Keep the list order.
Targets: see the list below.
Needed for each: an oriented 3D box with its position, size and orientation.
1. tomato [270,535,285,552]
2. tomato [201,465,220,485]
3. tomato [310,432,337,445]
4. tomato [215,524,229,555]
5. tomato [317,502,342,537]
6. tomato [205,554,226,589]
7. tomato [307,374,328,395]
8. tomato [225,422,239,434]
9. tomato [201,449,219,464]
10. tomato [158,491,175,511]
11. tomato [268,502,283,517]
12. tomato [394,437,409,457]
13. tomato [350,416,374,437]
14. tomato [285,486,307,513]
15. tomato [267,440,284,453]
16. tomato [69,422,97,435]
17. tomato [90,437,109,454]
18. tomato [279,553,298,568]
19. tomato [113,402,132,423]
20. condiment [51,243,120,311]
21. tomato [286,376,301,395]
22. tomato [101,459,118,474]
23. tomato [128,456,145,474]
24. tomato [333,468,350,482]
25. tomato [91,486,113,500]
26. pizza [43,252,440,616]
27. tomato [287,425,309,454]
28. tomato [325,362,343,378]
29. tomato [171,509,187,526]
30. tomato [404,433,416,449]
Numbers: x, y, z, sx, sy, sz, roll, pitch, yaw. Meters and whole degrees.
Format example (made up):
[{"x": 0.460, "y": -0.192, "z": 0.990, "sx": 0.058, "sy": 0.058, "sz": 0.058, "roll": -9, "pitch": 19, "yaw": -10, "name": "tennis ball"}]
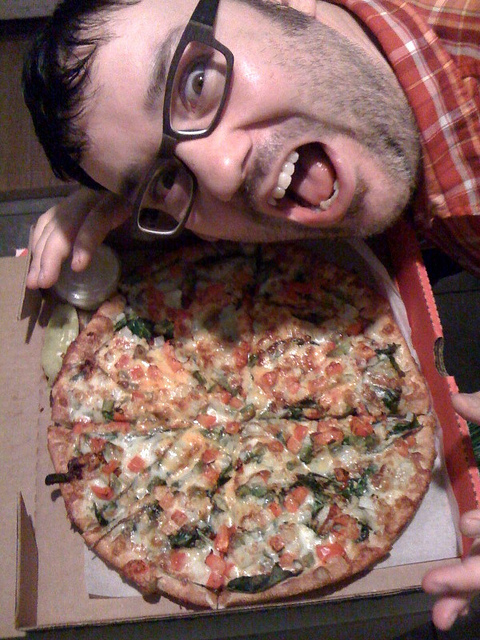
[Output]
[{"x": 0.090, "y": 0.534, "z": 1.438, "sx": 0.031, "sy": 0.015, "sz": 0.036, "roll": -32, "pitch": 69, "yaw": -21, "name": "tomato"}, {"x": -0.075, "y": 0.397, "z": 1.544, "sx": 0.040, "sy": 0.014, "sz": 0.035, "roll": 30, "pitch": 62, "yaw": 10, "name": "tomato"}, {"x": 0.215, "y": 0.302, "z": 1.544, "sx": 0.065, "sy": 0.027, "sz": 0.027, "roll": 15, "pitch": 60, "yaw": 2, "name": "tomato"}, {"x": -0.042, "y": 0.536, "z": 1.472, "sx": 0.014, "sy": 0.042, "sz": 0.056, "roll": 23, "pitch": 63, "yaw": -38, "name": "tomato"}, {"x": 0.215, "y": 0.490, "z": 1.458, "sx": 0.019, "sy": 0.067, "sz": 0.065, "roll": 25, "pitch": 75, "yaw": 14, "name": "tomato"}, {"x": -0.060, "y": 0.610, "z": 1.450, "sx": 0.045, "sy": 0.019, "sz": 0.064, "roll": 5, "pitch": 41, "yaw": 15, "name": "tomato"}, {"x": 0.207, "y": 0.169, "z": 1.600, "sx": 0.052, "sy": 0.018, "sz": 0.038, "roll": -47, "pitch": 53, "yaw": -1, "name": "tomato"}, {"x": -0.020, "y": 0.289, "z": 1.614, "sx": 0.036, "sy": 0.017, "sz": 0.032, "roll": 7, "pitch": 60, "yaw": -2, "name": "tomato"}, {"x": -0.080, "y": 0.354, "z": 1.569, "sx": 0.052, "sy": 0.015, "sz": 0.034, "roll": -15, "pitch": 63, "yaw": -14, "name": "tomato"}, {"x": -0.182, "y": 0.458, "z": 1.511, "sx": 0.036, "sy": 0.013, "sz": 0.041, "roll": 40, "pitch": 64, "yaw": 16, "name": "tomato"}, {"x": 0.087, "y": 0.462, "z": 1.471, "sx": 0.024, "sy": 0.011, "sz": 0.034, "roll": -35, "pitch": 70, "yaw": -22, "name": "tomato"}, {"x": 0.414, "y": 0.324, "z": 1.533, "sx": 0.035, "sy": 0.019, "sz": 0.052, "roll": 13, "pitch": 60, "yaw": 1, "name": "tomato"}, {"x": 0.313, "y": 0.277, "z": 1.548, "sx": 0.060, "sy": 0.015, "sz": 0.044, "roll": 40, "pitch": 64, "yaw": 15, "name": "tomato"}, {"x": 0.137, "y": 0.441, "z": 1.478, "sx": 0.062, "sy": 0.017, "sz": 0.038, "roll": -39, "pitch": 71, "yaw": -24, "name": "tomato"}, {"x": 0.093, "y": 0.328, "z": 1.553, "sx": 0.043, "sy": 0.012, "sz": 0.033, "roll": 0, "pitch": 61, "yaw": -6, "name": "tomato"}, {"x": -0.417, "y": 0.292, "z": 1.610, "sx": 0.061, "sy": 0.018, "sz": 0.030, "roll": 3, "pitch": 60, "yaw": -5, "name": "tomato"}, {"x": -0.376, "y": 0.330, "z": 1.582, "sx": 0.046, "sy": 0.012, "sz": 0.039, "roll": 6, "pitch": 60, "yaw": -3, "name": "tomato"}, {"x": 0.117, "y": 0.574, "z": 1.427, "sx": 0.042, "sy": 0.012, "sz": 0.028, "roll": 4, "pitch": 60, "yaw": -4, "name": "tomato"}, {"x": -0.317, "y": 0.247, "z": 1.608, "sx": 0.047, "sy": 0.027, "sz": 0.045, "roll": 3, "pitch": 60, "yaw": -4, "name": "tomato"}, {"x": -0.432, "y": -0.124, "z": 1.838, "sx": 0.170, "sy": 0.216, "sz": 0.193, "roll": 12, "pitch": 37, "yaw": 14, "name": "condiment"}, {"x": 0.143, "y": 0.174, "z": 1.615, "sx": 0.035, "sy": 0.011, "sz": 0.050, "roll": 10, "pitch": 60, "yaw": -1, "name": "tomato"}, {"x": -0.340, "y": 0.381, "z": 1.559, "sx": 0.038, "sy": 0.019, "sz": 0.037, "roll": 12, "pitch": 60, "yaw": 1, "name": "tomato"}, {"x": -0.270, "y": 0.376, "z": 1.558, "sx": 0.031, "sy": 0.010, "sz": 0.036, "roll": 32, "pitch": 63, "yaw": 12, "name": "tomato"}, {"x": 0.255, "y": 0.385, "z": 1.497, "sx": 0.035, "sy": 0.014, "sz": 0.036, "roll": -17, "pitch": 64, "yaw": -15, "name": "tomato"}, {"x": -0.357, "y": 0.446, "z": 1.548, "sx": 0.055, "sy": 0.021, "sz": 0.032, "roll": 2, "pitch": 60, "yaw": -5, "name": "tomato"}, {"x": 0.001, "y": 0.227, "z": 1.627, "sx": 1.032, "sy": 0.232, "sz": 0.997, "roll": -17, "pitch": 64, "yaw": -15, "name": "pizza"}, {"x": 0.148, "y": 0.309, "z": 1.552, "sx": 0.038, "sy": 0.020, "sz": 0.068, "roll": 21, "pitch": 83, "yaw": 15, "name": "tomato"}, {"x": 0.253, "y": 0.130, "z": 1.604, "sx": 0.043, "sy": 0.021, "sz": 0.035, "roll": -10, "pitch": 62, "yaw": -11, "name": "tomato"}, {"x": -0.153, "y": 0.490, "z": 1.489, "sx": 0.034, "sy": 0.012, "sz": 0.028, "roll": 37, "pitch": 64, "yaw": 14, "name": "tomato"}, {"x": 0.437, "y": 0.308, "z": 1.537, "sx": 0.028, "sy": 0.015, "sz": 0.028, "roll": -37, "pitch": 71, "yaw": -28, "name": "tomato"}]
